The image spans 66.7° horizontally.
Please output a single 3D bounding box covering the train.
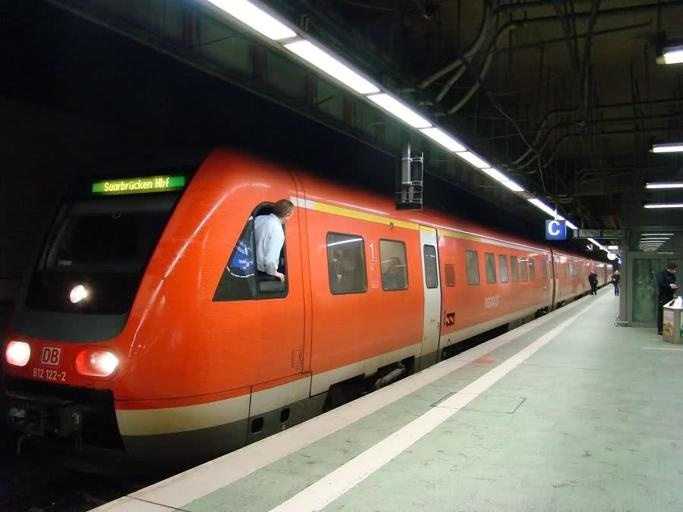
[{"bbox_3d":[0.480,0.604,9.439,2.167,2.780,10.795,-2,-1,28],"label":"train"}]
